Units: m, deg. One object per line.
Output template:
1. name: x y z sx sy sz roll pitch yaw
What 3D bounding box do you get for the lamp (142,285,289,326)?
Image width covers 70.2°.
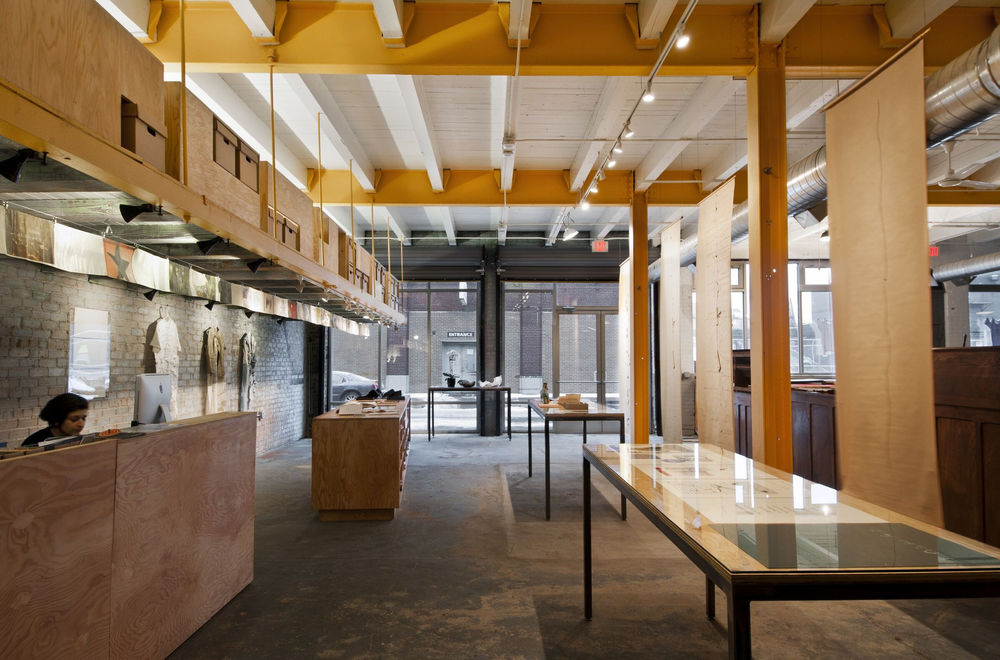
1. lamp: -3.585 -0.315 8.809 0.177 0.326 2.434 6 5 45

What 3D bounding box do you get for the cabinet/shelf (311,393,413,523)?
1. cabinet/shelf: -1.555 1.452 7.970 0.945 1.185 0.933 0 5 0

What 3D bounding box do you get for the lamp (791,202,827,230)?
1. lamp: 4.297 -1.604 9.869 0.423 0.105 0.438 -24 6 -7

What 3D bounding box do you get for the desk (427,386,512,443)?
1. desk: -0.552 1.547 14.111 1.501 1.119 1.797 0 5 2

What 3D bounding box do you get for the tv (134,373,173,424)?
1. tv: -2.693 0.537 5.533 0.268 0.382 0.403 -3 6 -27

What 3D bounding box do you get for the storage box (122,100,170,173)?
1. storage box: -2.502 -1.399 5.066 0.132 0.455 0.402 1 5 10

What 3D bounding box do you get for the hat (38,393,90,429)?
1. hat: -3.670 0.686 6.003 0.387 0.267 0.273 -2 7 -15
